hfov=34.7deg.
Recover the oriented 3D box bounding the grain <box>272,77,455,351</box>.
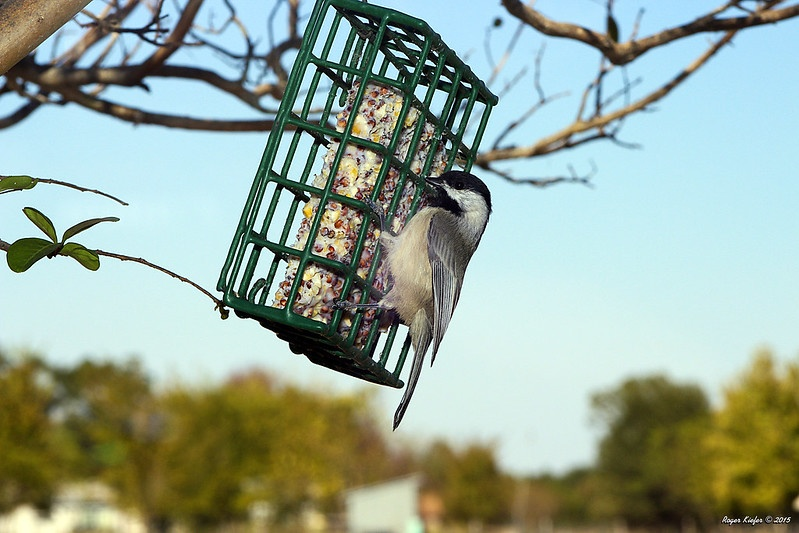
[{"bbox_3d":[-0.526,-0.555,11.664,1.123,2.801,2.042,0,-1,-20],"label":"grain"}]

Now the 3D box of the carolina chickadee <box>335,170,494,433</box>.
[{"bbox_3d":[0.187,0.129,11.740,1.208,0.717,2.224,32,-92,-45],"label":"carolina chickadee"}]
